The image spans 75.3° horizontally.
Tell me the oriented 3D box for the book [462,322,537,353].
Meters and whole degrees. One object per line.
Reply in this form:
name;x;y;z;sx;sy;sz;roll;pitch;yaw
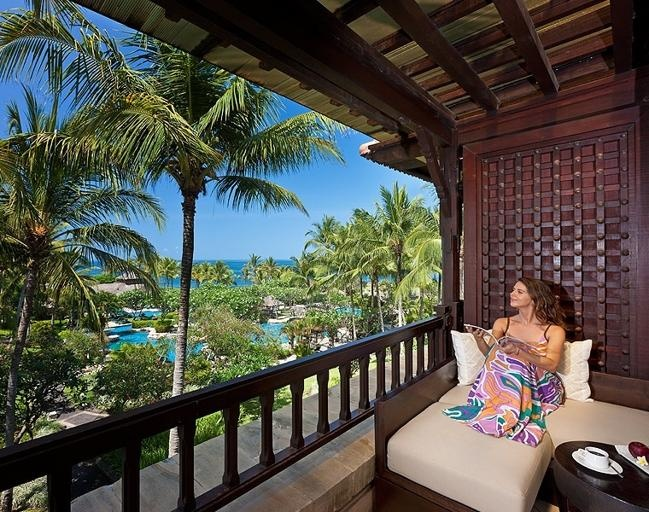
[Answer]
book;1.619;0.793;4.089;0.443;0.127;0.264;27;-17;-15

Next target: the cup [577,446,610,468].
cup;1.900;1.422;2.999;0.111;0.069;0.145;0;-9;-10

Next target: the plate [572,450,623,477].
plate;1.908;1.440;2.965;0.177;0.069;0.183;-3;2;26
